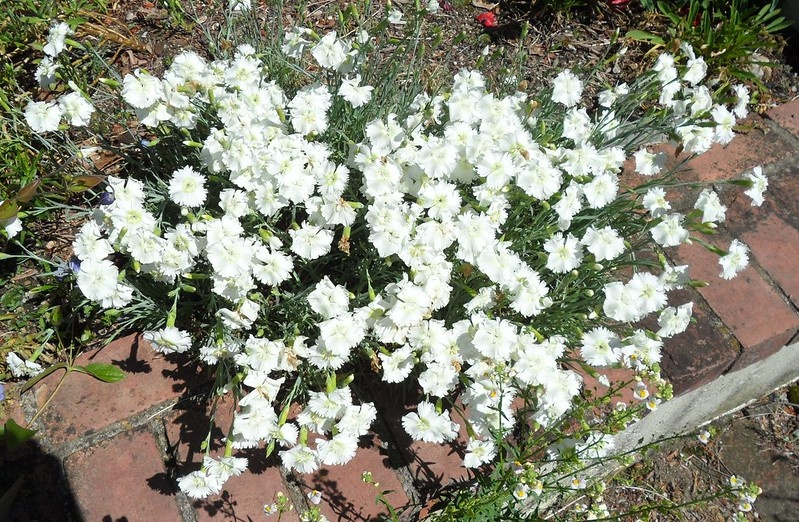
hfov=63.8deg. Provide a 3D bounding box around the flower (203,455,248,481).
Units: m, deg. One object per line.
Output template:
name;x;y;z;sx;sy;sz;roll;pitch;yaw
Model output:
flower;-0.674;0.792;2.475;0.120;0.052;0.122;0;64;-16
